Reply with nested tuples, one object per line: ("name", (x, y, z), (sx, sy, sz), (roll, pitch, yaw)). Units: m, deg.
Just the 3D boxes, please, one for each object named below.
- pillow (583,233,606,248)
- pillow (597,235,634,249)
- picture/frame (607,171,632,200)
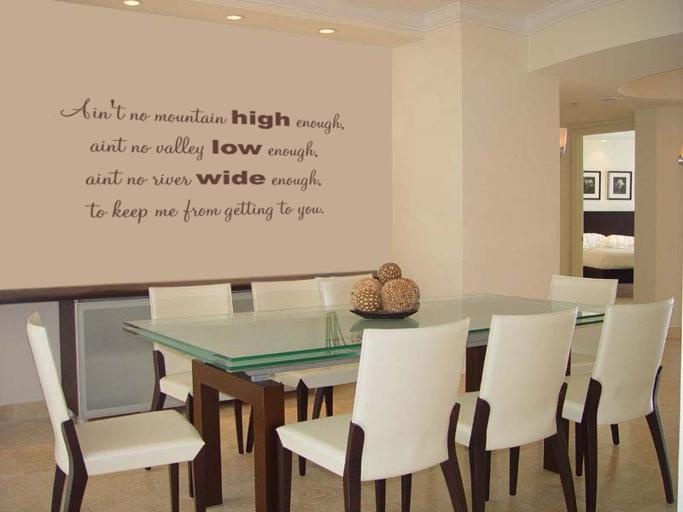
("pillow", (4.852, -0.315, 10.119), (0.428, 0.142, 0.297), (3, -3, -41))
("pillow", (5.220, -0.294, 10.021), (0.644, 0.204, 0.375), (-1, 6, 2))
("picture/frame", (5.601, -1.439, 10.665), (0.606, 0.633, 0.045), (0, 0, -16))
